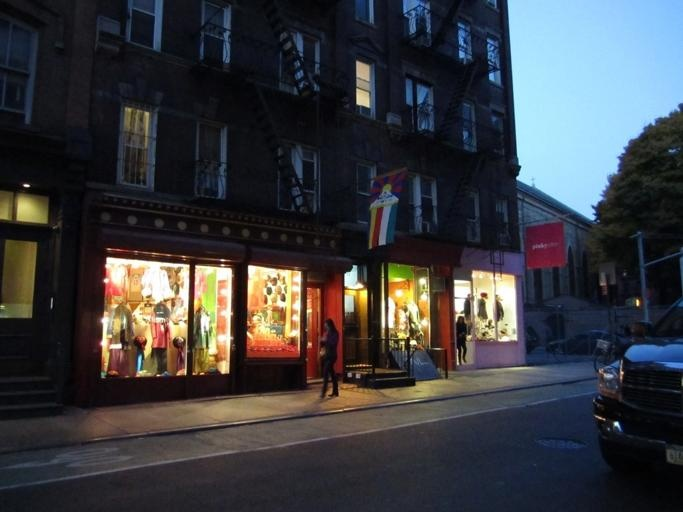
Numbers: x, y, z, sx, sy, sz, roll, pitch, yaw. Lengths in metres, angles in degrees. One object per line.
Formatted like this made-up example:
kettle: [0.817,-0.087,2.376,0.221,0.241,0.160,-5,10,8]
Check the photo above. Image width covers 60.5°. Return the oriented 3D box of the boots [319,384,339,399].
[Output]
boots: [-0.381,4.063,17.369,0.681,0.481,0.246,8,-14,-21]

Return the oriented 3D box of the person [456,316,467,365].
person: [5.006,3.515,24.613,0.406,2.006,0.738,-3,-9,14]

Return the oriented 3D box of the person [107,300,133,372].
person: [-5.989,2.147,15.788,0.645,2.070,0.217,5,-10,-35]

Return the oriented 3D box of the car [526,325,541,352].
car: [12.214,5.264,37.555,0.760,1.814,4.505,-4,-10,18]

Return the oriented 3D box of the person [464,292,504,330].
person: [6.164,2.422,25.885,1.359,1.843,0.511,4,-9,-29]
